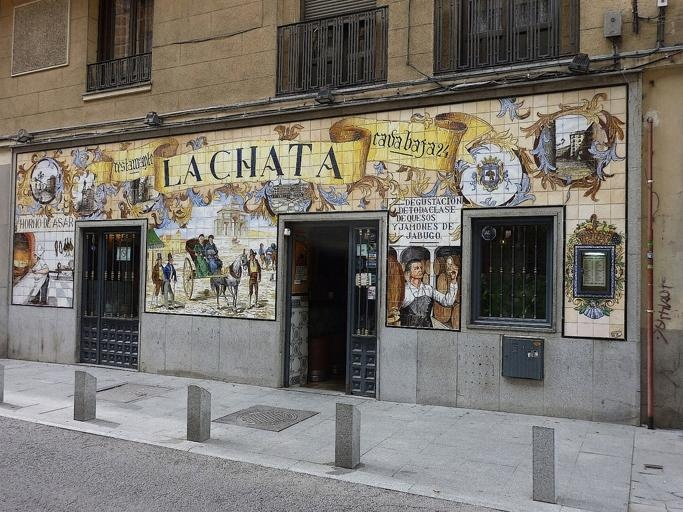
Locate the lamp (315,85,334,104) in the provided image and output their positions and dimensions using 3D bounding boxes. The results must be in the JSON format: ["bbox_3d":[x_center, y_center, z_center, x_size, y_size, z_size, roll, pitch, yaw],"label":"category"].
[{"bbox_3d":[-0.336,-3.342,16.833,0.399,0.325,0.396,2,-2,30],"label":"lamp"}]

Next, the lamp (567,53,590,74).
[{"bbox_3d":[4.420,-3.576,15.102,0.386,0.357,0.218,-1,-1,17],"label":"lamp"}]

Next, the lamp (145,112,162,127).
[{"bbox_3d":[-4.310,-3.120,18.592,0.315,0.317,0.328,3,7,13],"label":"lamp"}]

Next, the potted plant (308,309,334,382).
[{"bbox_3d":[-0.496,2.010,18.280,0.426,1.393,0.657,5,5,7],"label":"potted plant"}]

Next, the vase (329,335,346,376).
[{"bbox_3d":[-0.092,2.442,18.773,0.388,1.266,0.294,1,0,-27],"label":"vase"}]

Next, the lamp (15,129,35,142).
[{"bbox_3d":[-7.924,-2.993,20.293,0.509,0.334,0.177,-2,-1,30],"label":"lamp"}]
